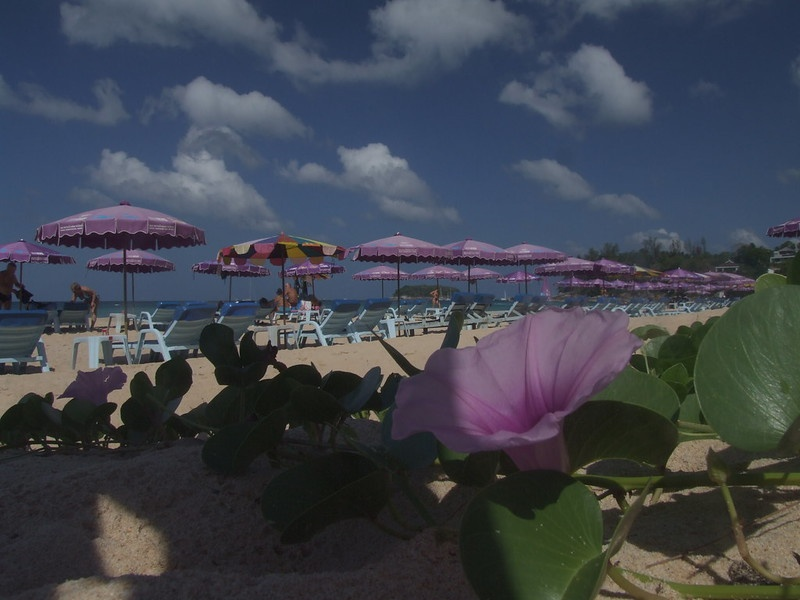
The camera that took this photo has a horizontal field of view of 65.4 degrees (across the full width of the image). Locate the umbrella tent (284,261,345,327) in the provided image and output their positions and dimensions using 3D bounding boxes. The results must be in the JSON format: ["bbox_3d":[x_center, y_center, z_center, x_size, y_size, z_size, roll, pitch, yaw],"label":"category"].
[{"bbox_3d":[-3.043,-0.361,21.605,1.942,2.375,1.985,3,8,39],"label":"umbrella tent"}]

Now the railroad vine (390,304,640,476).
[{"bbox_3d":[0.120,0.084,0.669,0.254,0.150,0.109,2,3,-1],"label":"railroad vine"}]

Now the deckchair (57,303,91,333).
[{"bbox_3d":[-7.873,0.487,15.080,0.654,0.813,1.118,0,11,-33],"label":"deckchair"}]

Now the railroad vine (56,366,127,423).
[{"bbox_3d":[-0.579,0.165,1.199,0.098,0.047,0.117,-11,25,-29],"label":"railroad vine"}]

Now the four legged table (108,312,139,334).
[{"bbox_3d":[-5.949,0.506,13.426,0.365,0.312,0.395,1,-6,-2],"label":"four legged table"}]

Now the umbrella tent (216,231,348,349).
[{"bbox_3d":[-2.121,-0.180,11.209,2.094,2.067,2.227,-3,-5,-15],"label":"umbrella tent"}]

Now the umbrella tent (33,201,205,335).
[{"bbox_3d":[-4.931,-0.422,10.730,1.959,2.041,2.043,-1,-1,-4],"label":"umbrella tent"}]

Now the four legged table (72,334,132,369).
[{"bbox_3d":[-3.686,0.646,7.749,0.459,0.360,0.494,0,-9,-5],"label":"four legged table"}]

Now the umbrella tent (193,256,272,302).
[{"bbox_3d":[-6.029,-0.693,22.513,2.617,1.973,2.598,4,-3,-40],"label":"umbrella tent"}]

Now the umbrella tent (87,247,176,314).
[{"bbox_3d":[-7.891,-0.795,18.526,2.221,1.666,2.358,-2,-1,24],"label":"umbrella tent"}]
